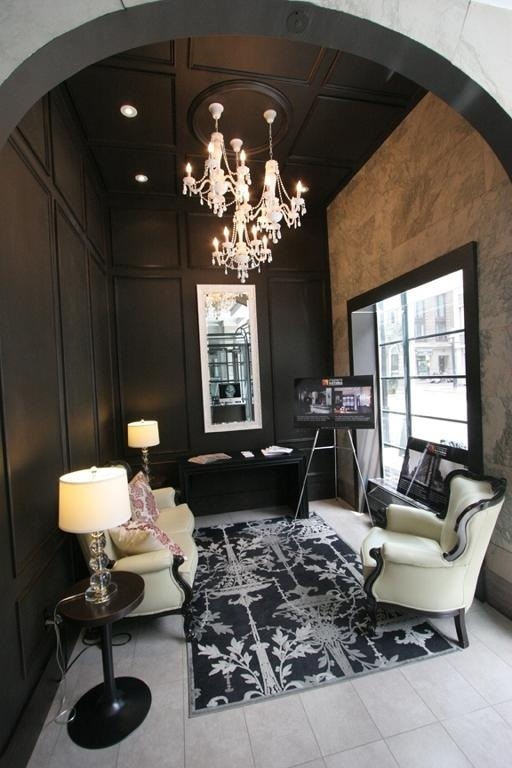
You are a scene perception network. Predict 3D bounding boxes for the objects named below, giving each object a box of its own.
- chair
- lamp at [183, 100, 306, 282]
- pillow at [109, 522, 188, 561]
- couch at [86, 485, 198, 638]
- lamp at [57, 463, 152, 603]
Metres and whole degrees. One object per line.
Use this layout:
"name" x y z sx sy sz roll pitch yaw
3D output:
"chair" 1.013 0.907 3.358 0.840 1.152 0.796 3 4 16
"lamp" 0.034 -1.453 4.047 0.582 1.095 0.669 -5 2 -30
"pillow" -0.666 0.934 3.123 0.293 0.104 0.269 18 -11 -17
"couch" -0.682 0.692 3.340 0.610 0.756 1.364 -3 7 -12
"lamp" -0.782 0.739 2.583 0.321 0.646 0.366 -4 7 -19
